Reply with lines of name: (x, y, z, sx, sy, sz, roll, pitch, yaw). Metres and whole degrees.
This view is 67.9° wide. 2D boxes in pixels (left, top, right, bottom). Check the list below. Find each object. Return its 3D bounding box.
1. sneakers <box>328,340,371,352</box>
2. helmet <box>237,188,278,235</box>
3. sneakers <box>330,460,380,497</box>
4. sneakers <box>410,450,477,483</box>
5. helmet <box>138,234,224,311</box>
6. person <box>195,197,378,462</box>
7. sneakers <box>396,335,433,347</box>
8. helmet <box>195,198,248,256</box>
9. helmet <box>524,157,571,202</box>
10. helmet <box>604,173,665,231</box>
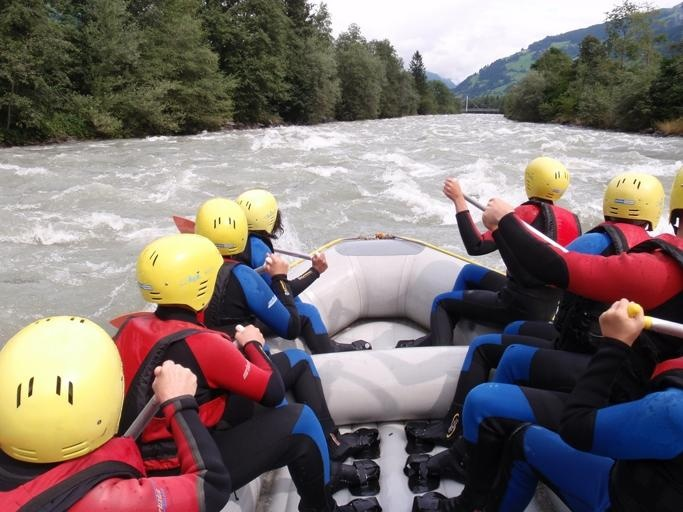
sneakers: (0.077, 0.752, 4.182, 0.294, 0.108, 0.091, -6, 22, -14)
helmet: (-0.630, -0.300, 3.869, 0.311, 0.332, 0.373, 2, 8, 14)
sneakers: (0.050, 1.310, 3.040, 0.372, 0.120, 0.250, -2, 2, 0)
sneakers: (0.578, 1.173, 2.900, 0.319, 0.119, 0.244, 0, 17, 8)
helmet: (-0.789, 0.062, 2.517, 0.322, 0.329, 0.437, 27, 32, 35)
person: (-0.482, 0.527, 3.406, 0.990, 1.700, 0.728, -14, 12, -10)
sneakers: (0.626, 0.745, 4.333, 0.252, 0.085, 0.123, 2, 18, 2)
helmet: (-0.775, -0.199, 3.339, 0.340, 0.355, 0.396, 6, 21, -17)
helmet: (1.492, -0.538, 3.644, 0.286, 0.320, 0.339, 3, 16, -9)
helmet: (1.566, -0.273, 2.695, 0.342, 0.281, 0.266, -6, 15, -41)
